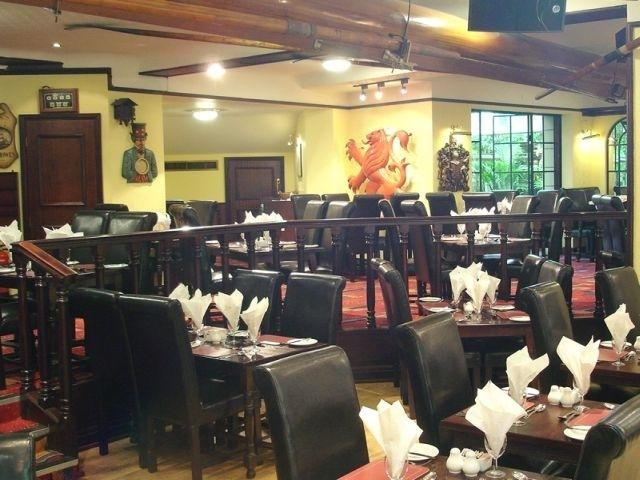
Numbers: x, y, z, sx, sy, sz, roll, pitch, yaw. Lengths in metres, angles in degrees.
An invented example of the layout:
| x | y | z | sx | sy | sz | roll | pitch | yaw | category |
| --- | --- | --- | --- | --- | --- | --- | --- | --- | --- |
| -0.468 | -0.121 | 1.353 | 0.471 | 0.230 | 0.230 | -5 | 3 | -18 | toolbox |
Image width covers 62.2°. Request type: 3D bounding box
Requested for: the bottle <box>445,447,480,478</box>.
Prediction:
| x | y | z | sx | sy | sz | roll | pitch | yaw | category |
| --- | --- | --- | --- | --- | --- | --- | --- | --- | --- |
| 0.505 | 0.757 | 1.870 | 0.140 | 0.091 | 0.069 | -2 | -12 | 17 | bottle |

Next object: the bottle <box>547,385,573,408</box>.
| x | y | z | sx | sy | sz | roll | pitch | yaw | category |
| --- | --- | --- | --- | --- | --- | --- | --- | --- | --- |
| 1.100 | 0.708 | 2.409 | 0.110 | 0.074 | 0.076 | 19 | -26 | -25 | bottle |

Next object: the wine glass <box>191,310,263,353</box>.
| x | y | z | sx | sy | sz | roll | pitch | yaw | category |
| --- | --- | --- | --- | --- | --- | --- | --- | --- | --- |
| -0.518 | 0.537 | 3.244 | 0.093 | 0.253 | 0.400 | 22 | -24 | -40 | wine glass |

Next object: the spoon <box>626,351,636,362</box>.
| x | y | z | sx | sy | sz | roll | pitch | yaw | category |
| --- | --- | --- | --- | --- | --- | --- | --- | --- | --- |
| 1.756 | 0.656 | 2.974 | 0.037 | 0.014 | 0.119 | 8 | 14 | 28 | spoon |

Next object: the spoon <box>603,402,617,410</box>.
| x | y | z | sx | sy | sz | roll | pitch | yaw | category |
| --- | --- | --- | --- | --- | --- | --- | --- | --- | --- |
| 1.345 | 0.769 | 2.442 | 0.045 | 0.017 | 0.070 | -3 | -3 | 29 | spoon |

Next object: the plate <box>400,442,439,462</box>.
| x | y | z | sx | sy | sz | roll | pitch | yaw | category |
| --- | --- | --- | --- | --- | --- | --- | --- | --- | --- |
| 0.381 | 0.780 | 1.947 | 0.098 | 0.033 | 0.112 | -1 | 4 | 22 | plate |

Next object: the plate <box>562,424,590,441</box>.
| x | y | z | sx | sy | sz | roll | pitch | yaw | category |
| --- | --- | --- | --- | --- | --- | --- | --- | --- | --- |
| 1.015 | 0.754 | 2.091 | 0.069 | 0.021 | 0.139 | 1 | 4 | 36 | plate |

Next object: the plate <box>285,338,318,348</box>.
| x | y | z | sx | sy | sz | roll | pitch | yaw | category |
| --- | --- | --- | --- | --- | --- | --- | --- | --- | --- |
| -0.121 | 0.660 | 3.381 | 0.194 | 0.034 | 0.200 | -2 | 3 | 4 | plate |

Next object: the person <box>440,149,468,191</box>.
| x | y | z | sx | sy | sz | roll | pitch | yaw | category |
| --- | --- | --- | --- | --- | --- | --- | --- | --- | --- |
| 2.570 | -1.316 | 10.015 | 0.683 | 0.821 | 0.202 | -5 | 5 | -33 | person |
